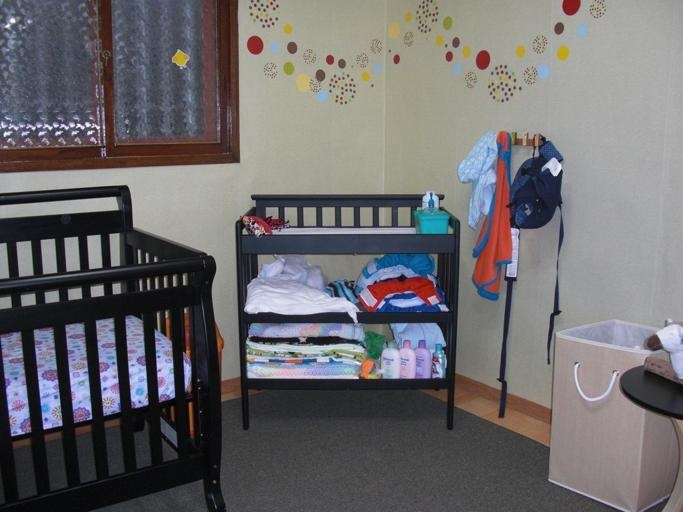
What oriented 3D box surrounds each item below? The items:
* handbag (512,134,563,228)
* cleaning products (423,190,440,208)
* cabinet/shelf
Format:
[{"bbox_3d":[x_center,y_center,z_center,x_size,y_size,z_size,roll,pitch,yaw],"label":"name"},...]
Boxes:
[{"bbox_3d":[0.985,-0.364,3.000,0.264,0.443,0.142,-1,0,28],"label":"handbag"},{"bbox_3d":[0.485,-0.317,3.266,0.081,0.109,0.089,0,1,-2],"label":"cleaning products"},{"bbox_3d":[0.029,0.330,3.196,1.030,1.250,0.644,0,7,-1],"label":"cabinet/shelf"}]
